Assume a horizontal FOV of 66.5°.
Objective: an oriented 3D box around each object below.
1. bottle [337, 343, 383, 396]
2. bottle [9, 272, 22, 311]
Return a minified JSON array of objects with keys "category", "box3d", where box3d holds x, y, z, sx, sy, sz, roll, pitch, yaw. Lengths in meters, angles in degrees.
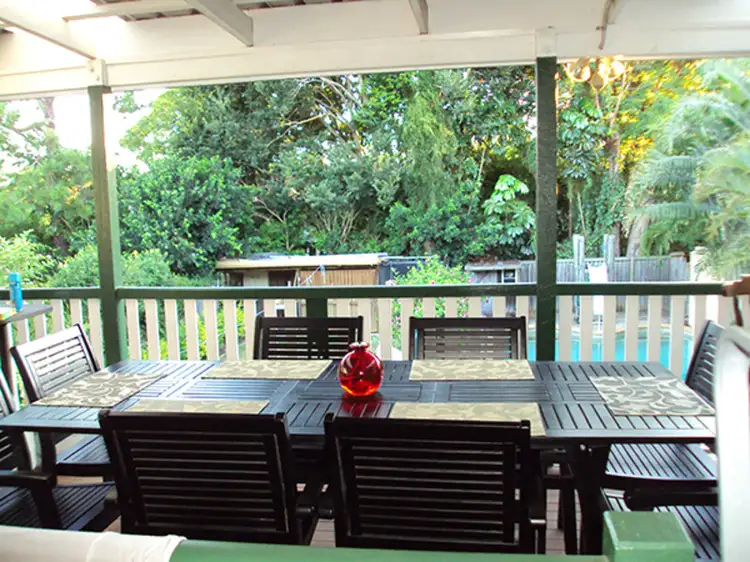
[{"category":"bottle","box3d":[-0.057,0.350,2.268,0.191,0.218,0.181,-3,5,-12]},{"category":"bottle","box3d":[-2.226,0.058,3.559,0.072,0.249,0.442,2,-4,-32]}]
